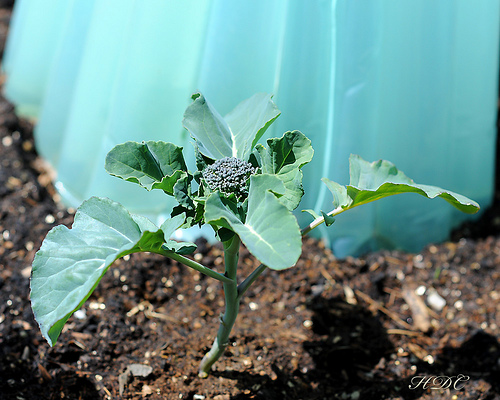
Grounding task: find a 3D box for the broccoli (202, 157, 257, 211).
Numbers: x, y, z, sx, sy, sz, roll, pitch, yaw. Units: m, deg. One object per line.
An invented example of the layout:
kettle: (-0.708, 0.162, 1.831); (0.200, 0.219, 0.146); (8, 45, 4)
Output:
broccoli: (-0.053, -0.052, 1.000); (0.099, 0.062, 0.099); (-29, 40, -33)
